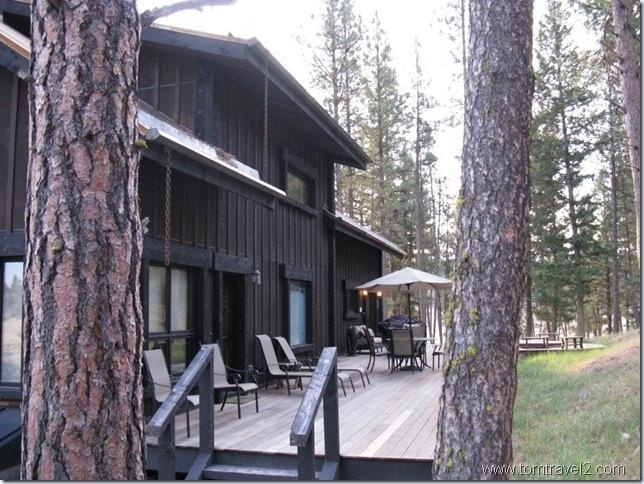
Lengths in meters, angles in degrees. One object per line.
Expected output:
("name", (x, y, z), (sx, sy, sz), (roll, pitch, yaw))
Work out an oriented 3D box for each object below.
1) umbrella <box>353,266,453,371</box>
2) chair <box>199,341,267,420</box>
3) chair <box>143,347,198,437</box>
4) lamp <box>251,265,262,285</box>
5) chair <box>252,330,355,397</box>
("umbrella", (1.957, 1.384, 15.797), (1.717, 1.797, 1.664), (10, 35, 43))
("chair", (-1.364, 2.019, 10.165), (0.633, 1.153, 0.584), (-4, -5, 15))
("chair", (-1.988, 2.033, 9.173), (0.652, 1.182, 0.577), (-3, -1, 12))
("lamp", (-1.229, 0.640, 12.933), (0.096, 0.337, 0.461), (-4, -10, 12))
("chair", (-0.648, 2.208, 12.473), (1.106, 1.143, 2.184), (-3, -11, -6))
